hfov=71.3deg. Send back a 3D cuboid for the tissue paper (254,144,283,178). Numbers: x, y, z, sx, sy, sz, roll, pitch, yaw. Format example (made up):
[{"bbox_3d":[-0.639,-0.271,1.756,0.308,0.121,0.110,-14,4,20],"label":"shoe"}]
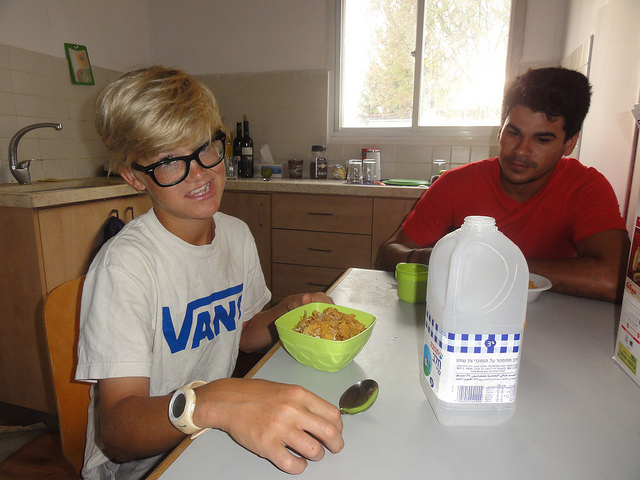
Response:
[{"bbox_3d":[-0.400,-0.583,3.476,0.223,0.251,0.149,2,-8,2],"label":"tissue paper"}]

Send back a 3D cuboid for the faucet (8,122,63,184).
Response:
[{"bbox_3d":[-1.578,-0.471,2.436,0.380,0.320,0.196,10,21,28],"label":"faucet"}]

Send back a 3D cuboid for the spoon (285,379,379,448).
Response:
[{"bbox_3d":[0.038,0.352,0.896,0.071,0.035,0.256,38,32,28],"label":"spoon"}]

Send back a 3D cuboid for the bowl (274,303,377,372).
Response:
[{"bbox_3d":[0.016,0.220,1.071,0.226,0.088,0.204,9,21,25],"label":"bowl"}]

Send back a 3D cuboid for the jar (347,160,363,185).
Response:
[{"bbox_3d":[0.250,-0.490,3.181,0.106,0.141,0.305,1,19,3],"label":"jar"}]

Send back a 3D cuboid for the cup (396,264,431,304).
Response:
[{"bbox_3d":[0.265,0.122,1.278,0.088,0.088,0.115,-1,7,5],"label":"cup"}]

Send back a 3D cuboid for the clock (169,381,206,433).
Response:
[{"bbox_3d":[-0.261,0.323,0.851,0.057,0.089,0.082,-8,-31,27],"label":"clock"}]

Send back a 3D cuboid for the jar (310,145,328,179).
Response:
[{"bbox_3d":[-0.012,-0.600,3.427,0.133,0.248,0.179,-1,19,-2],"label":"jar"}]

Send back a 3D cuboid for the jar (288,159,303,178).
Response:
[{"bbox_3d":[-0.185,-0.551,3.431,0.122,0.148,0.124,0,16,0],"label":"jar"}]
